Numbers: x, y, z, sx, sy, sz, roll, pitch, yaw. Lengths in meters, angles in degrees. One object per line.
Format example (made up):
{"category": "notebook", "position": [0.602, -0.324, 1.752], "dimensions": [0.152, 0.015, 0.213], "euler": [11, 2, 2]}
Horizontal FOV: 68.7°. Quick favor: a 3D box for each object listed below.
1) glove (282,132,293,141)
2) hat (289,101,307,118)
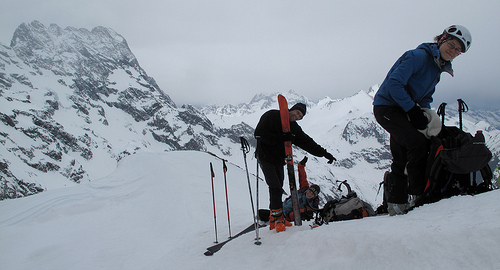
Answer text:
{"category": "glove", "position": [2.298, 0.071, 22.178], "dimensions": [0.600, 0.428, 0.202], "euler": [1, 6, -39]}
{"category": "hat", "position": [3.067, -1.591, 22.757], "dimensions": [1.000, 0.727, 0.979], "euler": [-32, 32, -6]}
